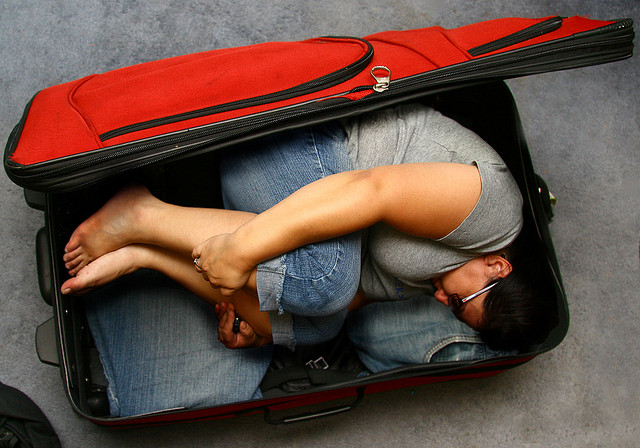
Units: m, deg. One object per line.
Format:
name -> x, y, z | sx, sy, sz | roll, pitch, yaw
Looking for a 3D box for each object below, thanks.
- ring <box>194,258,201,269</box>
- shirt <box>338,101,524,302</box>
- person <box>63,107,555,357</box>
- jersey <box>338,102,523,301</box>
ring -> -0.298, 0.096, 1.558 | 0.015, 0.011, 0.026 | -19, 81, 0
shirt -> 0.280, -0.094, 1.744 | 0.451, 0.492, 0.475 | -32, 92, 29
person -> -0.052, 0.059, 1.768 | 1.125, 0.526, 0.624 | -1, 43, -4
jersey -> 0.288, -0.070, 1.632 | 0.425, 0.277, 0.493 | -7, 81, 2
